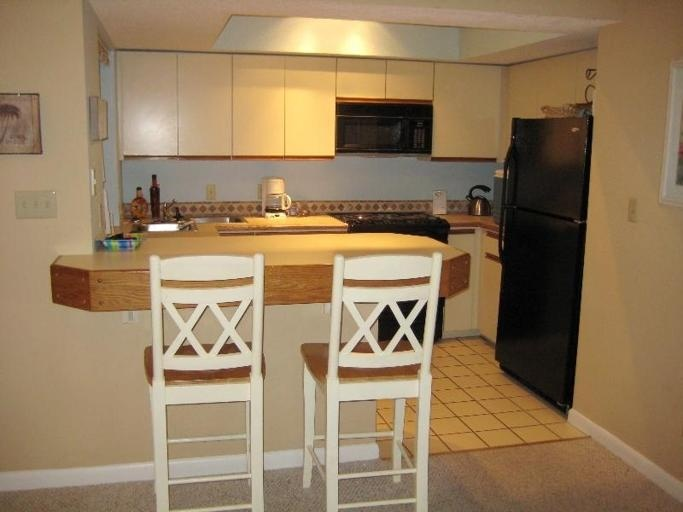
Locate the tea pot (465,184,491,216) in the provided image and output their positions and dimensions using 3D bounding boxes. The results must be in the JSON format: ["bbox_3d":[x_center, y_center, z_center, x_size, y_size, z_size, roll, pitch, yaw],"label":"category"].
[{"bbox_3d":[1.382,-0.576,5.831,0.353,0.365,0.242,-1,12,1],"label":"tea pot"}]

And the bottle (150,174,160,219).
[{"bbox_3d":[-1.663,-0.536,5.074,0.092,0.382,0.376,-4,11,-18],"label":"bottle"}]

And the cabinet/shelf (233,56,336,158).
[{"bbox_3d":[-0.464,-1.337,5.188,1.046,0.955,0.357,4,9,16],"label":"cabinet/shelf"}]

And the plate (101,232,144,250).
[{"bbox_3d":[-1.249,-0.080,3.231,0.213,0.065,0.290,-2,11,-12],"label":"plate"}]

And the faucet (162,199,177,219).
[{"bbox_3d":[-1.556,-0.430,5.148,0.135,0.151,0.326,-3,11,-17],"label":"faucet"}]

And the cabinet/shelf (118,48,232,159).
[{"bbox_3d":[-1.404,-1.281,5.000,0.983,0.915,0.339,0,5,-4],"label":"cabinet/shelf"}]

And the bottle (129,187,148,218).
[{"bbox_3d":[-1.798,-0.474,5.027,0.144,0.269,0.311,-4,11,-20],"label":"bottle"}]

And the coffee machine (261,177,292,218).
[{"bbox_3d":[-0.616,-0.549,5.254,0.282,0.438,0.348,-4,10,-19],"label":"coffee machine"}]
